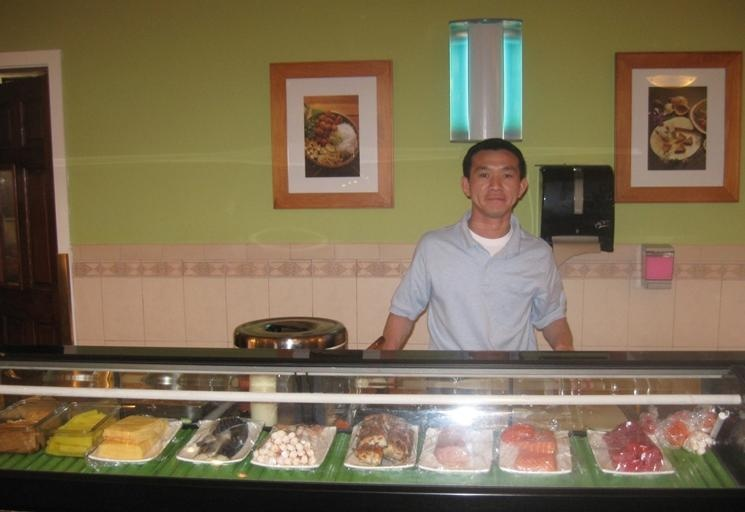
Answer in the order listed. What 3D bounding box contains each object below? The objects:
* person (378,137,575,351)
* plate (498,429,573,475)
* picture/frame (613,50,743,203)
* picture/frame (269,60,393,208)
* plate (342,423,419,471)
[{"bbox_3d":[0.486,-0.054,2.726,0.831,0.949,0.276,2,7,11],"label":"person"},{"bbox_3d":[0.537,0.652,1.995,0.168,0.047,0.161,1,19,15],"label":"plate"},{"bbox_3d":[1.851,-0.818,3.582,1.012,1.105,0.091,0,1,2],"label":"picture/frame"},{"bbox_3d":[-0.223,-0.790,3.689,1.005,1.024,0.046,0,6,6],"label":"picture/frame"},{"bbox_3d":[0.024,0.620,1.981,0.174,0.028,0.166,-1,22,5],"label":"plate"}]
